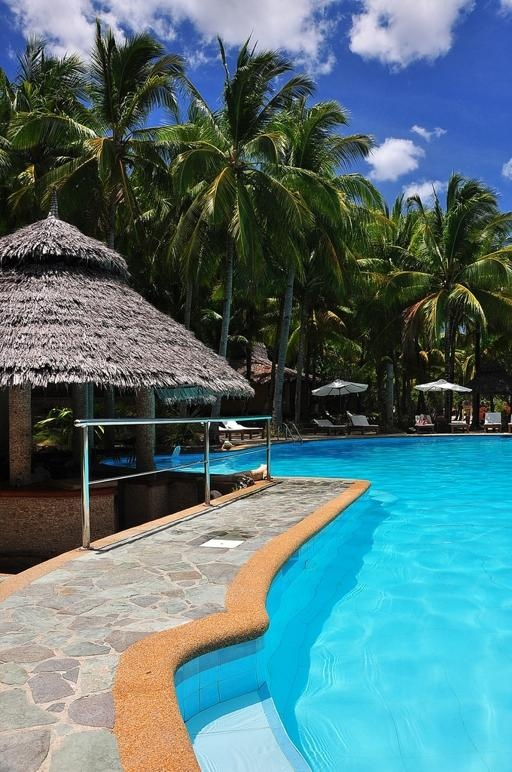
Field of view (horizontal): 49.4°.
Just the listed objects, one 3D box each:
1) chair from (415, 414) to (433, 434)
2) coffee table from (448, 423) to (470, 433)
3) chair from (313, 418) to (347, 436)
[{"bbox_3d":[7.641,1.725,25.244,0.650,0.898,0.875,0,-5,1],"label":"chair"},{"bbox_3d":[9.350,1.874,25.442,0.595,0.298,0.582,-2,0,-44],"label":"coffee table"},{"bbox_3d":[3.175,1.809,24.282,0.686,0.626,0.981,2,-8,-34],"label":"chair"}]
